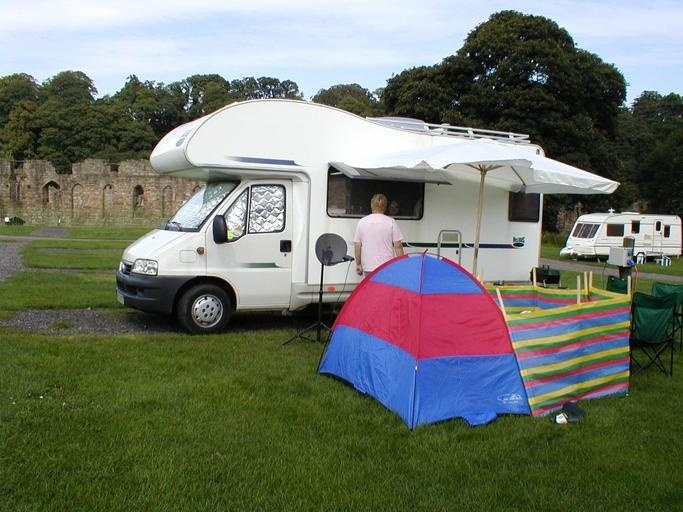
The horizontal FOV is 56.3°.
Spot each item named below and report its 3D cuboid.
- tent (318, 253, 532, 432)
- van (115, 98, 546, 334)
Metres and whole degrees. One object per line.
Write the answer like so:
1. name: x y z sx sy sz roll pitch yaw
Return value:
1. tent: 0.852 0.727 7.482 1.464 1.477 1.933 -3 7 -34
2. van: -0.170 -0.692 11.753 7.535 4.308 3.157 1 2 -14
